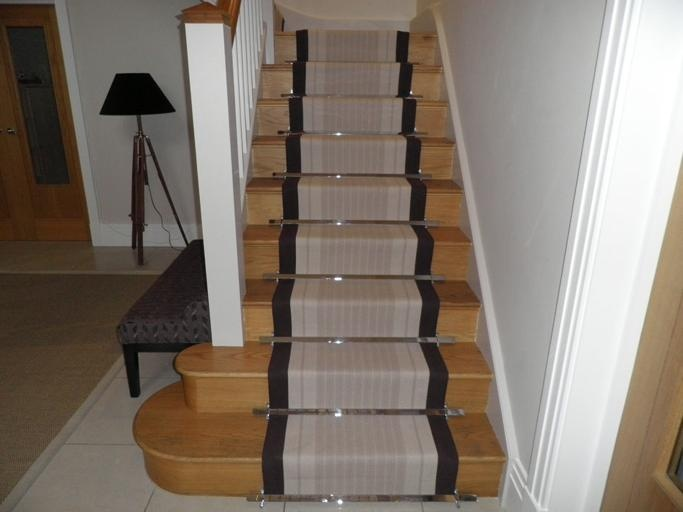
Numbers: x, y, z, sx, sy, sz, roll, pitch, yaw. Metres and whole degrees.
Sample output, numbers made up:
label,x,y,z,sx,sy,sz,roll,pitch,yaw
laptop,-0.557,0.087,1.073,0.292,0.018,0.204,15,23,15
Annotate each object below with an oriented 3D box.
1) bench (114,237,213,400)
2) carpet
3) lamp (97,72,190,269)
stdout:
label,x,y,z,sx,sy,sz,roll,pitch,yaw
bench,-1.078,0.394,3.342,0.380,0.353,0.936,-3,33,-3
carpet,0.063,-0.073,3.159,0.923,1.985,1.756,-1,18,-1
lamp,-1.638,-0.720,4.685,0.559,1.562,0.690,-5,18,-16
